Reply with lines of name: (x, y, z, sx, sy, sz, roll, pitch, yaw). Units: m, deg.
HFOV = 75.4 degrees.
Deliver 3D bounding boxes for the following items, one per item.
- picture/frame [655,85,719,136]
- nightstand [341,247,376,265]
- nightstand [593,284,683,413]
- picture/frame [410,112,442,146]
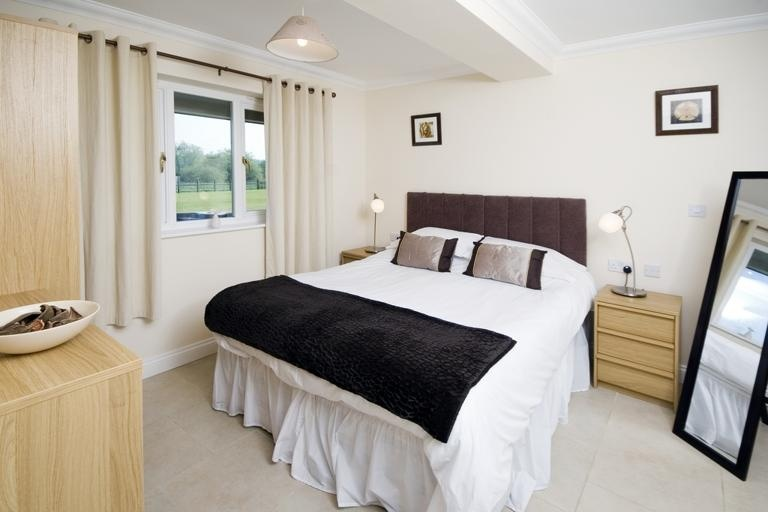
picture/frame: (2.493, -1.202, 4.077, 0.439, 0.396, 0.036, 3, 6, 33)
nightstand: (-0.308, -0.063, 5.692, 0.243, 0.258, 0.251, 13, 19, 43)
nightstand: (2.208, 0.751, 4.254, 0.493, 0.869, 0.685, -21, 21, -38)
picture/frame: (0.451, -1.381, 5.441, 0.343, 0.306, 0.015, -11, 16, -26)
